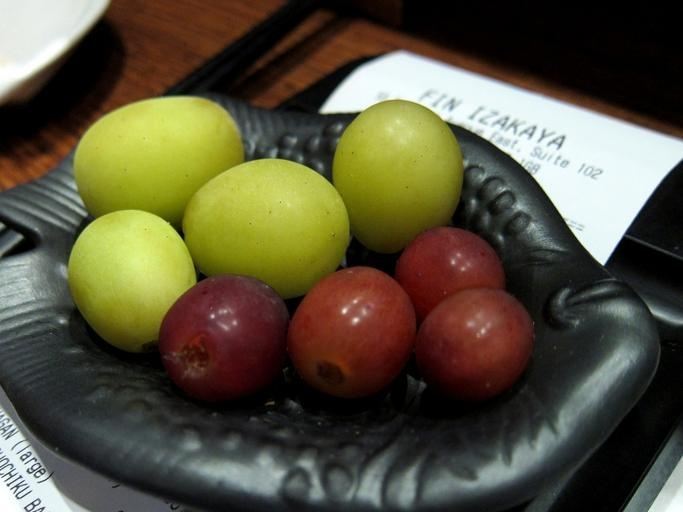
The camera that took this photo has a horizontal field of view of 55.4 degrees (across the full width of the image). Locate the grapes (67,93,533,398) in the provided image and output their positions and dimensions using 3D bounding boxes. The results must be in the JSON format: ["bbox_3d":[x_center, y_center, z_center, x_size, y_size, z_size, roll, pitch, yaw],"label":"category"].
[{"bbox_3d":[-0.046,-0.004,0.512,0.330,0.101,0.238,25,56,18],"label":"grapes"}]
